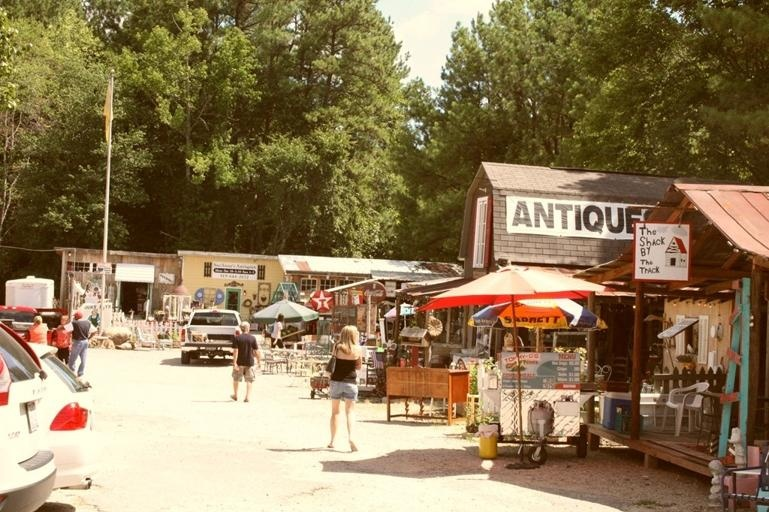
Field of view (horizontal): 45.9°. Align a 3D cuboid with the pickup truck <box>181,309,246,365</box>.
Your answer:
[{"bbox_3d":[-6.876,3.207,36.004,1.800,2.016,4.895,0,-2,-7],"label":"pickup truck"}]

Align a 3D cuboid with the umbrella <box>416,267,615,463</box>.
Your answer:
[{"bbox_3d":[3.044,2.672,22.283,4.238,4.182,4.130,-5,3,-13],"label":"umbrella"}]

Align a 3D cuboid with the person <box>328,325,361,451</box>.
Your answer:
[{"bbox_3d":[-0.951,3.080,21.325,0.723,2.876,0.669,2,-5,-4],"label":"person"}]

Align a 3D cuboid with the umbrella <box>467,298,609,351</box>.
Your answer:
[{"bbox_3d":[3.853,1.864,22.958,3.236,1.532,1.918,-3,-2,14],"label":"umbrella"}]

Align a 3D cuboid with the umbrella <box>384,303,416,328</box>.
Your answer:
[{"bbox_3d":[0.638,2.184,35.137,1.058,0.474,1.088,0,-5,-17],"label":"umbrella"}]

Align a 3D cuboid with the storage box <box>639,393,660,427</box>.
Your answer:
[{"bbox_3d":[6.836,3.950,23.479,0.443,0.717,1.584,0,-6,17],"label":"storage box"}]

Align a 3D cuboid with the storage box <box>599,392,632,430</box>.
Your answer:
[{"bbox_3d":[5.550,3.697,21.846,0.600,0.848,1.163,0,-2,-2],"label":"storage box"}]

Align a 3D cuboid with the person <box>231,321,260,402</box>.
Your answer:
[{"bbox_3d":[-4.101,3.105,26.738,0.688,2.315,0.562,4,0,-2],"label":"person"}]

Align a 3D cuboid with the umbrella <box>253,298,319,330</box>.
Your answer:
[{"bbox_3d":[-4.386,2.432,39.595,3.442,1.534,1.743,1,-2,-9],"label":"umbrella"}]
